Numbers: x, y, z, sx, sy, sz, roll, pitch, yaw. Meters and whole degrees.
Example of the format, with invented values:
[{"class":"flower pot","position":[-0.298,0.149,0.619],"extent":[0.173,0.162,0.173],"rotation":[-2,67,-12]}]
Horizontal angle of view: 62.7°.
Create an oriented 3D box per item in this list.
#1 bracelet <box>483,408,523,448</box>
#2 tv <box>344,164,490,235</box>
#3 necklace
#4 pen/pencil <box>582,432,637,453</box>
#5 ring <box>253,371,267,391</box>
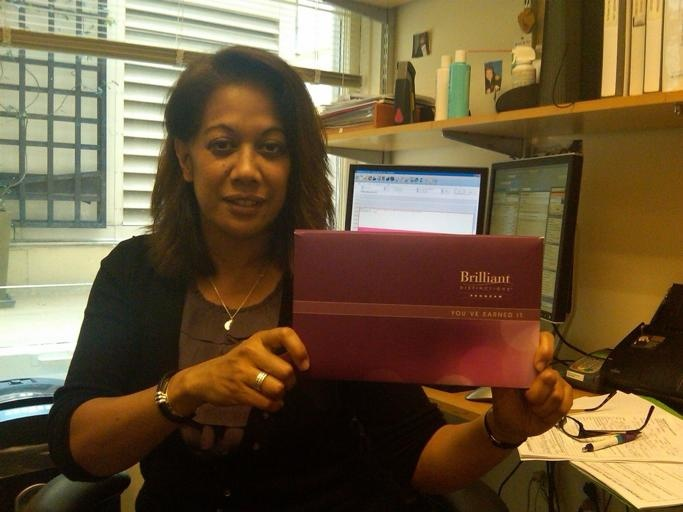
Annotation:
[{"class":"bracelet","position":[0.317,0.335,1.131],"extent":[0.064,0.081,0.025],"rotation":[-9,4,20]},{"class":"tv","position":[0.267,-0.186,1.875],"extent":[0.285,0.196,0.013],"rotation":[3,1,26]},{"class":"necklace","position":[-0.249,0.106,1.315],"extent":[0.165,0.018,0.193],"rotation":[3,53,1]},{"class":"pen/pencil","position":[0.583,0.404,1.209],"extent":[0.092,0.017,0.016],"rotation":[-9,7,-30]},{"class":"ring","position":[-0.144,0.223,0.997],"extent":[0.025,0.028,0.011],"rotation":[21,-8,-29]}]
